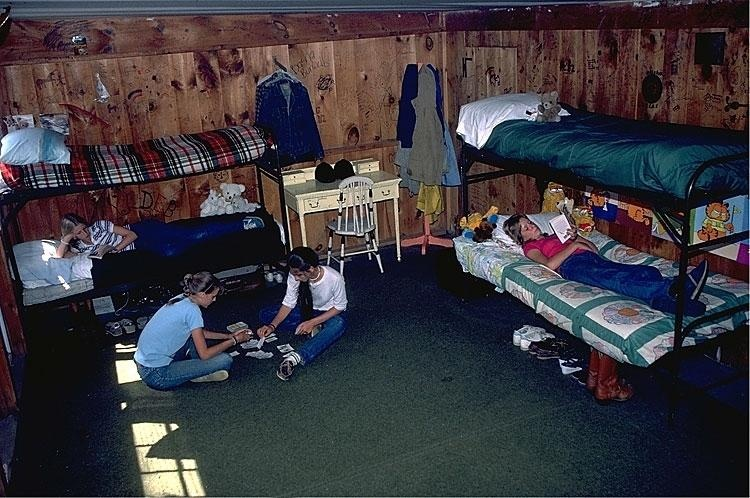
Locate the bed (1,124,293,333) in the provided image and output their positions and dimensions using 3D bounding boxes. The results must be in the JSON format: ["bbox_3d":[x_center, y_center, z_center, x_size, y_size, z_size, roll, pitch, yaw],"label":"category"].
[{"bbox_3d":[-2.795,-0.224,5.943,2.404,1.527,1.050,-10,28,-21],"label":"bed"}]

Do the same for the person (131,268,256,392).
[{"bbox_3d":[-1.848,0.624,5.197,1.287,1.232,0.941,-2,40,-39],"label":"person"}]

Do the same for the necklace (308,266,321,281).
[{"bbox_3d":[-0.633,0.255,5.266,0.118,0.103,0.154,-10,24,0],"label":"necklace"}]

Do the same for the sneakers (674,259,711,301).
[{"bbox_3d":[2.801,0.285,4.427,0.143,0.369,0.107,4,24,-27],"label":"sneakers"}]

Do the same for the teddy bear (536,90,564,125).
[{"bbox_3d":[1.982,-1.634,5.834,0.377,0.451,0.321,0,24,15],"label":"teddy bear"}]

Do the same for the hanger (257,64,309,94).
[{"bbox_3d":[-1.275,-2.291,6.732,0.683,0.344,0.308,-11,21,-9],"label":"hanger"}]

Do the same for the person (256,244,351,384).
[{"bbox_3d":[-0.861,0.564,5.355,0.622,1.211,0.951,11,28,41],"label":"person"}]

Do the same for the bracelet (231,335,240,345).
[{"bbox_3d":[-1.433,0.928,5.149,0.065,0.085,0.031,18,54,42],"label":"bracelet"}]

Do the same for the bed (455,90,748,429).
[{"bbox_3d":[2.317,0.128,4.992,1.938,2.170,2.896,-8,21,-17],"label":"bed"}]

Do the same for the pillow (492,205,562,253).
[{"bbox_3d":[1.859,-0.235,6.178,0.607,0.140,0.592,-13,28,-23],"label":"pillow"}]

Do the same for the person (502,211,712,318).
[{"bbox_3d":[2.265,0.086,5.152,0.624,0.603,1.877,-23,25,-27],"label":"person"}]

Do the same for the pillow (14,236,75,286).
[{"bbox_3d":[-3.771,0.165,5.701,0.513,0.468,0.495,-20,23,-29],"label":"pillow"}]

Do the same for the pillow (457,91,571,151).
[{"bbox_3d":[1.654,-1.670,6.163,1.017,0.264,0.748,-15,29,-15],"label":"pillow"}]

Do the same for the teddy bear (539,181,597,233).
[{"bbox_3d":[2.405,-0.542,6.263,0.346,0.411,0.949,-21,27,-17],"label":"teddy bear"}]

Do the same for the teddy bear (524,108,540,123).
[{"bbox_3d":[1.834,-1.566,5.872,0.132,0.057,0.164,-1,36,6],"label":"teddy bear"}]

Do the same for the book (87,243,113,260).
[{"bbox_3d":[-3.210,0.023,5.876,0.187,0.047,0.187,5,24,7],"label":"book"}]

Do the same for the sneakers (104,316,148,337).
[{"bbox_3d":[-2.959,0.929,5.966,0.254,0.096,0.331,-6,13,-29],"label":"sneakers"}]

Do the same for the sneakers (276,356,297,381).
[{"bbox_3d":[-0.891,1.184,5.095,0.128,0.131,0.310,24,27,-9],"label":"sneakers"}]
